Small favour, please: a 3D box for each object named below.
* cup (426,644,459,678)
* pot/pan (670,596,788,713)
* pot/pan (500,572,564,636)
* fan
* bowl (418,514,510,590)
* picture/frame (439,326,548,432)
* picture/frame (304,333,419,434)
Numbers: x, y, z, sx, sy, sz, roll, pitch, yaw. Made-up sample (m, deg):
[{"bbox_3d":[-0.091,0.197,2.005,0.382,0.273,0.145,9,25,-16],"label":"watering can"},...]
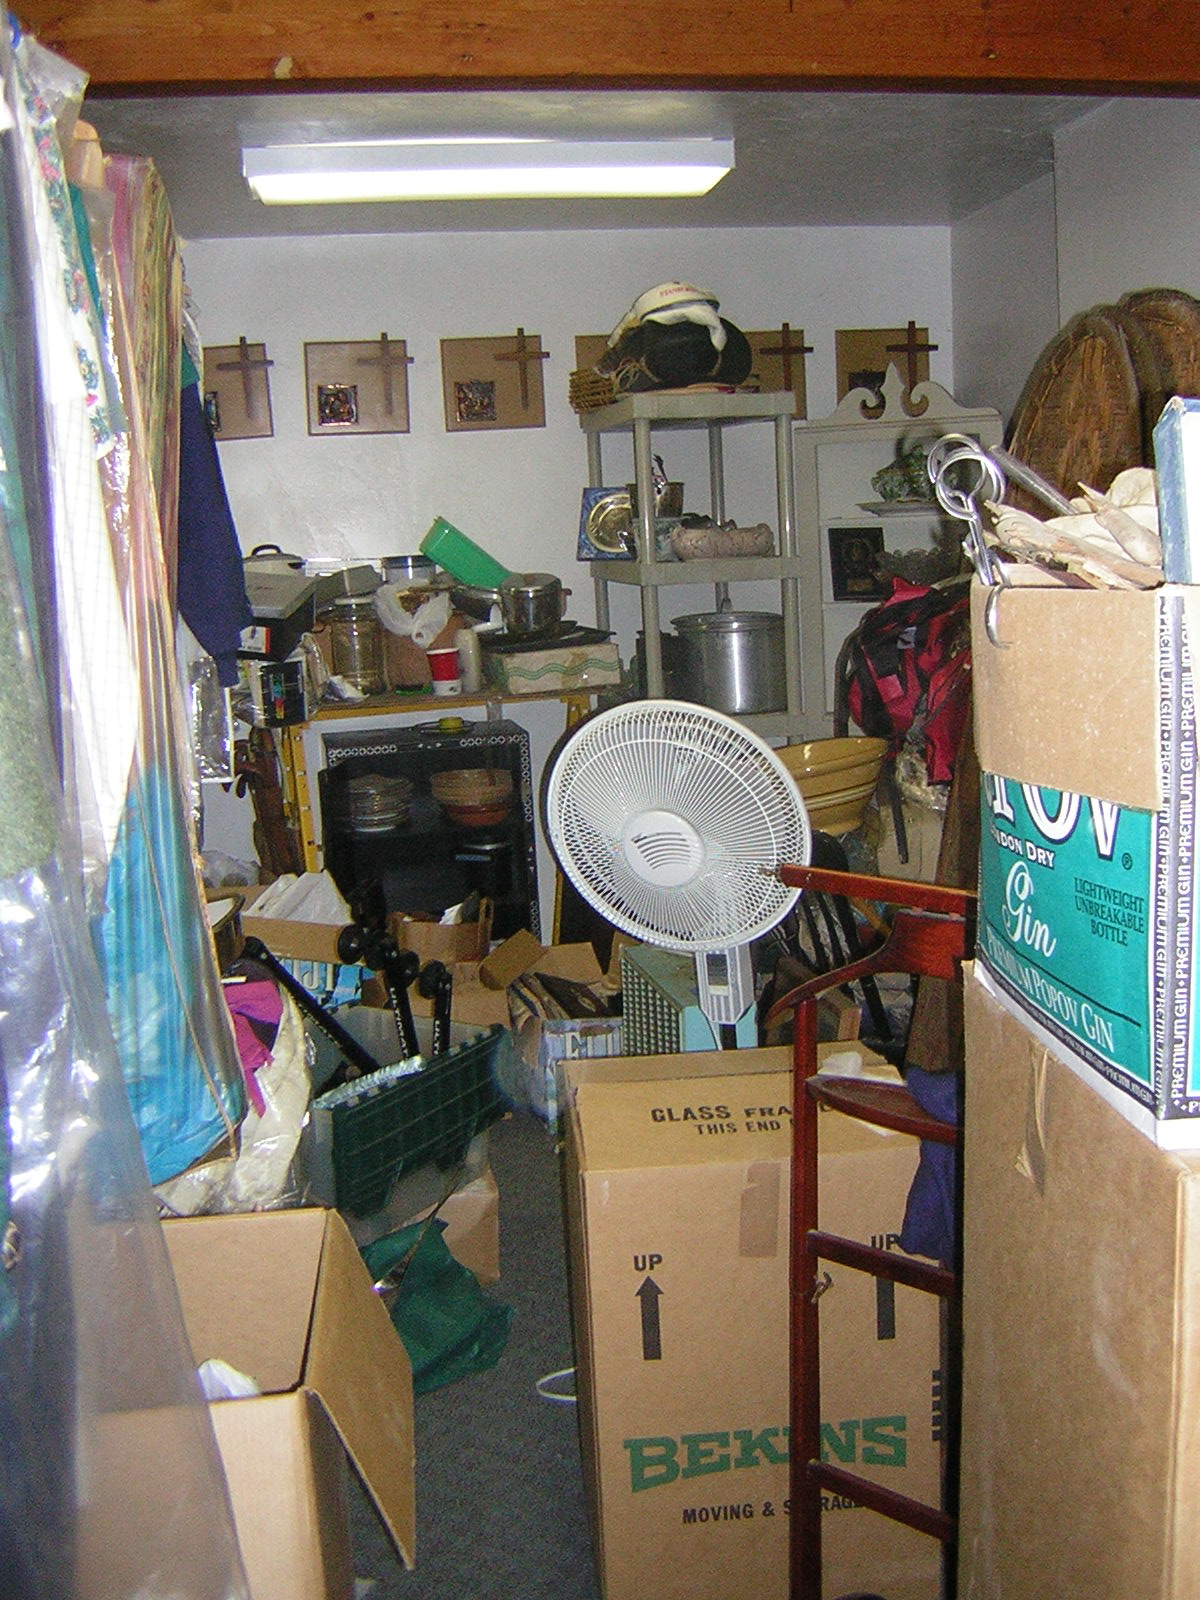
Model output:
[{"bbox_3d":[-0.464,-0.419,3.956,0.109,0.093,0.113,-3,10,1],"label":"cup"},{"bbox_3d":[0.335,-0.403,3.578,0.315,0.311,0.298,-2,7,-3],"label":"pot/pan"},{"bbox_3d":[-0.202,-0.592,3.946,0.191,0.180,0.164,-4,11,-6],"label":"pot/pan"},{"bbox_3d":[0.131,0.122,1.569,0.292,0.521,0.174,2,24,27],"label":"fan"},{"bbox_3d":[-0.437,-0.788,4.115,0.101,0.339,0.110,-41,25,24],"label":"bowl"},{"bbox_3d":[-0.353,-1.369,4.193,0.338,0.306,0.044,-1,10,-8],"label":"picture/frame"},{"bbox_3d":[-0.765,-1.334,4.136,0.321,0.313,0.036,0,11,-7],"label":"picture/frame"}]
